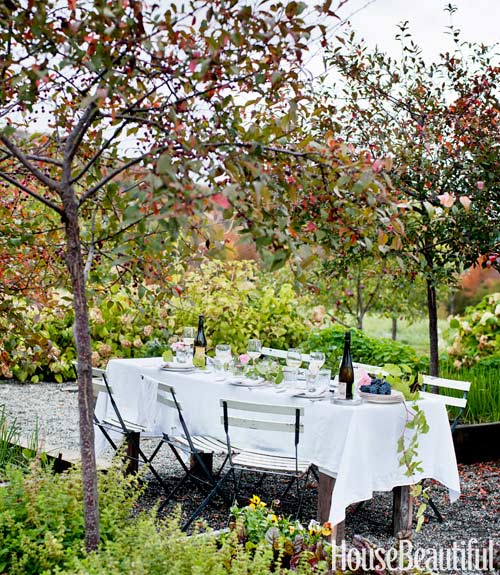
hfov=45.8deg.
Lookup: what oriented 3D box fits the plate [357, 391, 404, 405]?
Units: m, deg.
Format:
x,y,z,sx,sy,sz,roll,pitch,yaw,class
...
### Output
x,y,z,sx,sy,sz,roll,pitch,yaw,class
0.730,0.634,3.364,0.263,0.067,0.168,-5,-12,25,plate
